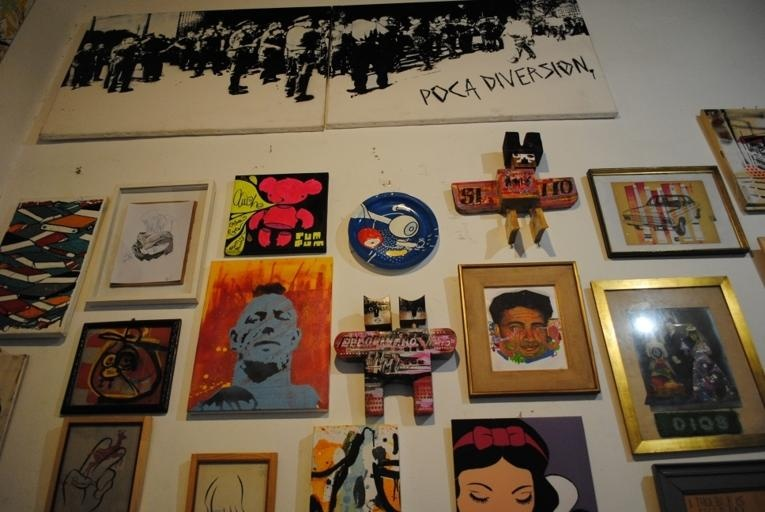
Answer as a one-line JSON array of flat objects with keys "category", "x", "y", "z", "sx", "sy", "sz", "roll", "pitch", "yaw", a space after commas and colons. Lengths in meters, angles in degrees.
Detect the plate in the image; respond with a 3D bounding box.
[{"category": "plate", "x": 0.052, "y": -0.139, "z": 2.603, "sx": 0.455, "sy": 0.467, "sz": 0.063, "roll": -1, "pitch": -39, "yaw": -2}]
